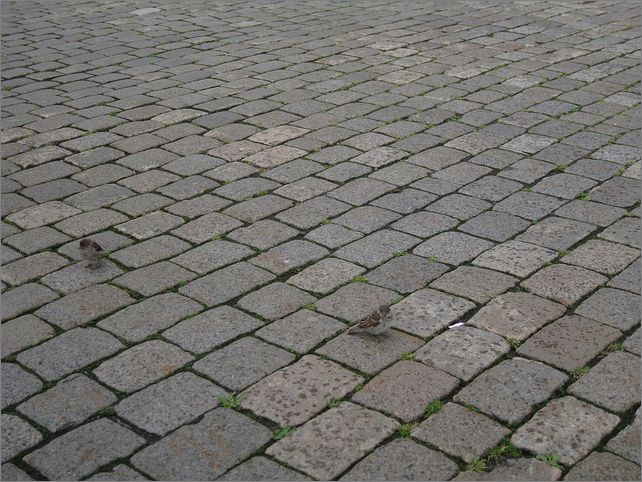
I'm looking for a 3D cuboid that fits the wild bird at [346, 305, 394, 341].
[{"bbox_3d":[0.346,0.539,3.396,0.338,0.153,0.179,-12,-6,36],"label":"wild bird"}]
